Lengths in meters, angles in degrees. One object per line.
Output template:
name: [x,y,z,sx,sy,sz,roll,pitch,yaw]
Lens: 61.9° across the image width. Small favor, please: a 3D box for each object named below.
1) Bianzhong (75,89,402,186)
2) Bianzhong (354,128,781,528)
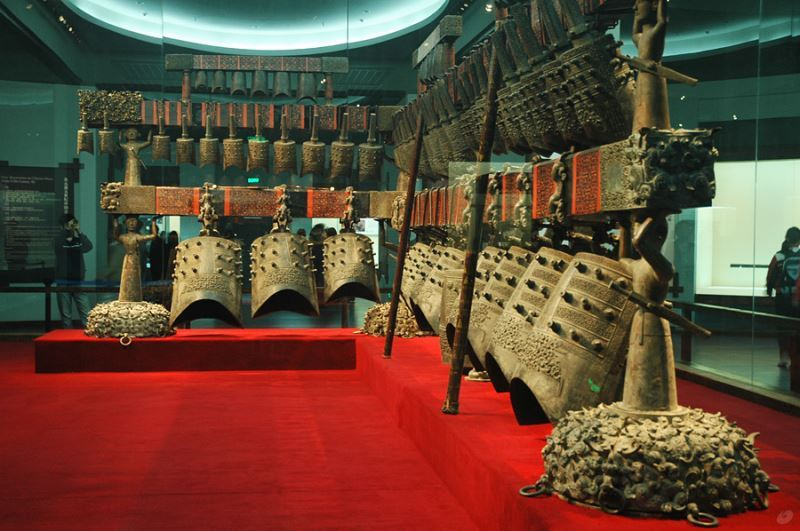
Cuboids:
Bianzhong: [-1.313,-1.151,5.914,3.022,0.983,0.555,4,9,0]
Bianzhong: [0.829,0.309,3.129,0.967,1.215,2.109,9,-2,-20]
